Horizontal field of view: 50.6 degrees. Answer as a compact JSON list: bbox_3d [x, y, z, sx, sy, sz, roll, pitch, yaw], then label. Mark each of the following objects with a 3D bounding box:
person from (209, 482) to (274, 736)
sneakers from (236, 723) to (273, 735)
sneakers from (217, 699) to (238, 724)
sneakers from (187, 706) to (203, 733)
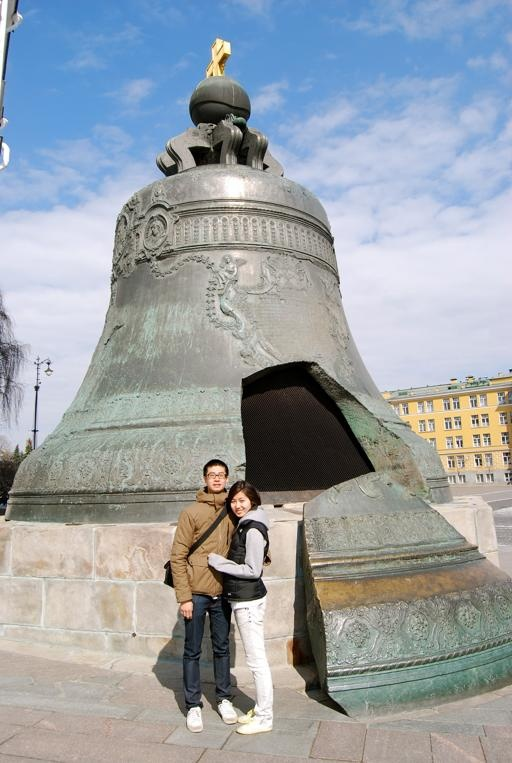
[{"bbox_3d":[-0.077,1.043,2.595,0.293,1.106,0.301,-3,-10,0],"label":"person"},{"bbox_3d":[-0.014,1.529,2.379,0.140,0.050,0.051,5,-27,-5],"label":"sneakers"},{"bbox_3d":[-0.137,1.553,2.540,0.050,0.058,0.148,3,-25,-13],"label":"sneakers"},{"bbox_3d":[-0.278,1.504,2.413,0.042,0.047,0.119,3,1,-6],"label":"sneakers"}]
